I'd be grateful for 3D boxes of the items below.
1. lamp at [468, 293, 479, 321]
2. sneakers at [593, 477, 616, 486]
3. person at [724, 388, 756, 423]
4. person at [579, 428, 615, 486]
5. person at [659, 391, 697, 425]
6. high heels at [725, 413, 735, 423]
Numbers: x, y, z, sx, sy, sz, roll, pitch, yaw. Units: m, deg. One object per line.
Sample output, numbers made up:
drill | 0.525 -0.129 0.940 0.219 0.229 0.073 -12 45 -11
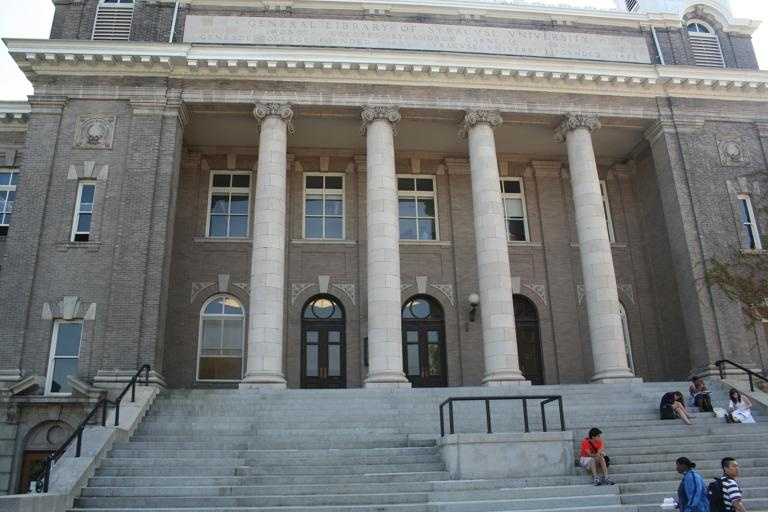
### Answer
lamp | 3.895 2.213 26.076 0.550 1.310 0.716 -4 -17 3
sneakers | 5.404 5.612 14.820 0.594 0.170 0.169 -1 -5 5
person | 11.189 4.765 18.935 0.920 1.032 0.757 -3 -16 1
person | 5.371 5.101 15.222 0.646 1.337 0.666 -3 -17 0
person | 9.296 4.761 18.859 0.689 0.867 1.151 10 -10 -18
high heels | 10.829 5.127 18.807 0.242 0.283 0.098 -9 -40 -11
